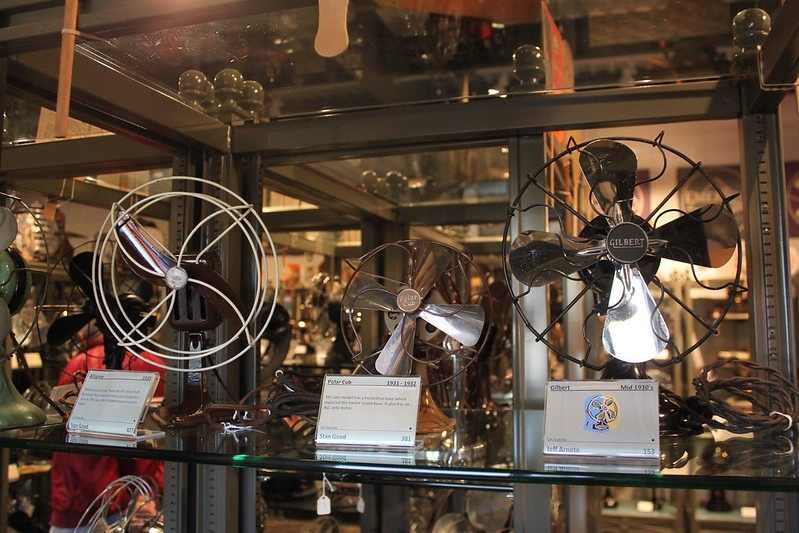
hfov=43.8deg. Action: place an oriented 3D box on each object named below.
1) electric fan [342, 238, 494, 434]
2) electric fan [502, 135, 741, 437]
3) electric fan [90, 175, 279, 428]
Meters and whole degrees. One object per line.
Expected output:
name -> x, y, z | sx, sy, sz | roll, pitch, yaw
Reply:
electric fan -> 0.080, 0.324, 4.311 | 0.795, 1.057, 0.478 | -1, -8, 9
electric fan -> 0.904, 0.002, 4.087 | 0.905, 1.372, 1.017 | -1, -11, 11
electric fan -> -0.925, 0.162, 4.266 | 0.933, 1.283, 0.520 | 2, 10, 1
